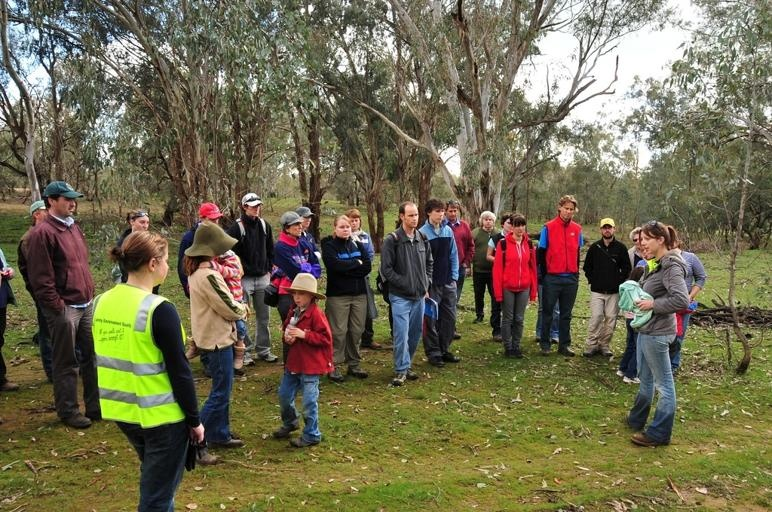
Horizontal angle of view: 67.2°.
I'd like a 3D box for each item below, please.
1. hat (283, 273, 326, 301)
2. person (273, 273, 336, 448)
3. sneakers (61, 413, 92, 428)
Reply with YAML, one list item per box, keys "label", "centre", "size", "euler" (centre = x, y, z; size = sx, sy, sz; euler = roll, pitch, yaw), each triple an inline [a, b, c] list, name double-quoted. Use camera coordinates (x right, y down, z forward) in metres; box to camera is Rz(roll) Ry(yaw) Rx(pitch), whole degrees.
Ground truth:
- label: "hat"
  centre: [-1.164, 0.439, 8.736]
  size: [0.427, 0.164, 0.426]
  euler: [8, -21, 13]
- label: "person"
  centre: [-1.245, 1.564, 8.709]
  size: [0.852, 2.625, 0.527]
  euler: [0, 4, 5]
- label: "sneakers"
  centre: [-4.776, 2.530, 9.037]
  size: [0.505, 0.208, 0.186]
  euler: [-1, 9, 9]
